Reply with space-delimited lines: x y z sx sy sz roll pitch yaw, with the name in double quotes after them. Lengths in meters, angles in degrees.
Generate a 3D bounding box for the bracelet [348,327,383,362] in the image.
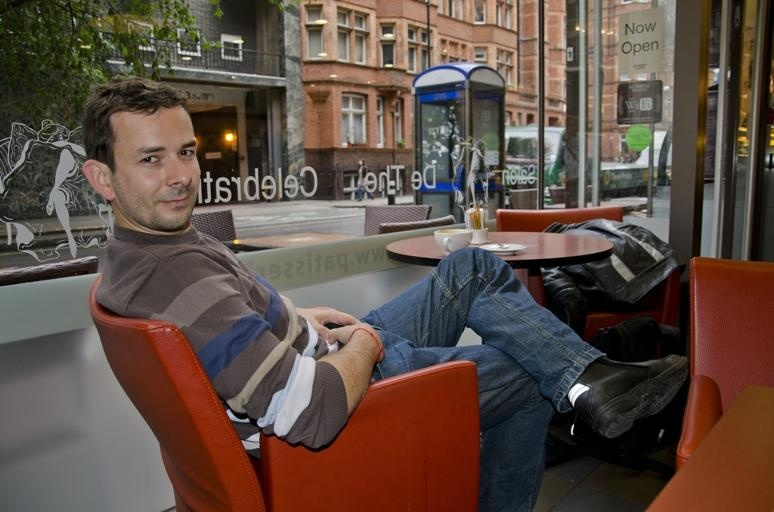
-0.077 0.319 2.084 0.101 0.140 0.052 -12 -14 -47 "bracelet"

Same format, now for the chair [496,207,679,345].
1.435 0.086 3.739 0.811 1.267 0.987 0 -5 -5 "chair"

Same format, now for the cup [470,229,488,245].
0.548 -0.104 3.249 0.085 0.070 0.091 -2 -2 0 "cup"

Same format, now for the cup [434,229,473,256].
0.354 -0.090 3.011 0.138 0.096 0.170 5 13 37 "cup"

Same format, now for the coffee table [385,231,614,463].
0.660 0.358 3.415 1.155 0.915 1.209 -3 4 -11 "coffee table"
